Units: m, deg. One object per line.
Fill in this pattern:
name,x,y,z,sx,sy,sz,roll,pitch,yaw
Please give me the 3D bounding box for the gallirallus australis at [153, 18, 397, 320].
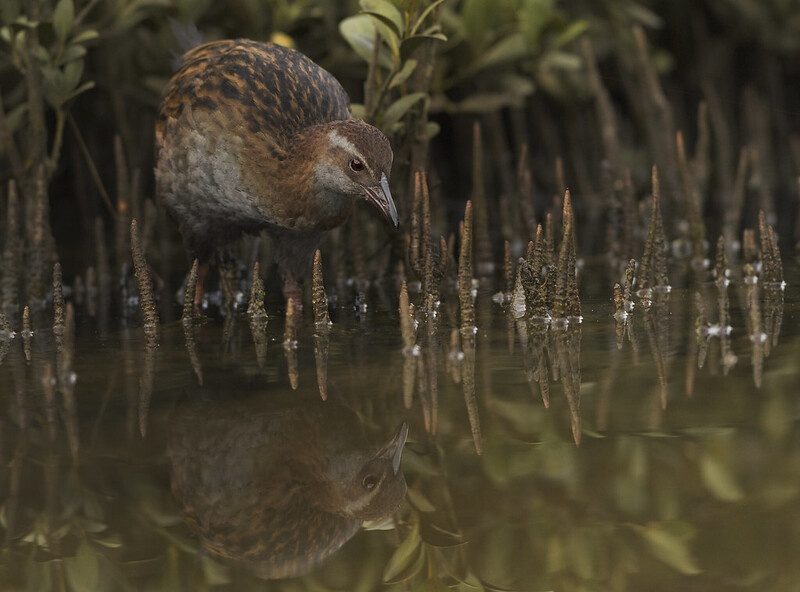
gallirallus australis,-0.570,-0.569,4.522,1.066,1.288,0.562,-5,-7,0
